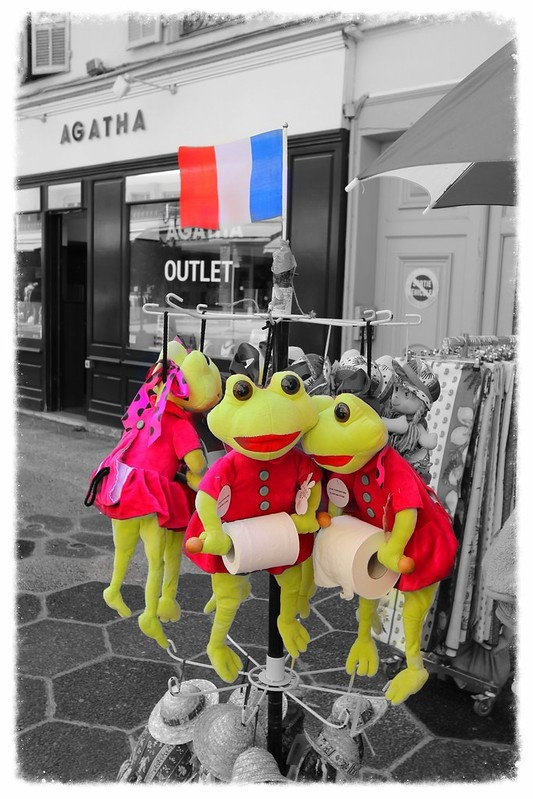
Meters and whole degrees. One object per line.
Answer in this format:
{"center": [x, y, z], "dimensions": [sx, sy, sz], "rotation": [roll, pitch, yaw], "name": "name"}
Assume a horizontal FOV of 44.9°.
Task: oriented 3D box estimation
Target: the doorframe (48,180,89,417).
{"center": [-2.975, -1.414, 9.491], "dimensions": [0.564, 3.205, 1.247], "rotation": [0, 6, -16], "name": "doorframe"}

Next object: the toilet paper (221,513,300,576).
{"center": [-0.017, 0.372, 1.656], "dimensions": [0.170, 0.135, 0.140], "rotation": [-2, 13, -18], "name": "toilet paper"}

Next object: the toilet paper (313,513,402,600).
{"center": [0.234, 0.429, 1.729], "dimensions": [0.215, 0.202, 0.202], "rotation": [-3, 8, -37], "name": "toilet paper"}

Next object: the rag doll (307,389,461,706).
{"center": [0.321, 0.407, 1.809], "dimensions": [0.434, 0.789, 0.399], "rotation": [1, -2, 21], "name": "rag doll"}

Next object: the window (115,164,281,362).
{"center": [-0.647, -1.530, 7.106], "dimensions": [2.034, 2.051, 0.023], "rotation": [-1, -3, 26], "name": "window"}

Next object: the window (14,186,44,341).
{"center": [-3.551, -1.861, 9.728], "dimensions": [0.529, 2.203, 0.055], "rotation": [-2, -1, 15], "name": "window"}

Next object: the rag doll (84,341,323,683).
{"center": [-0.195, 0.357, 1.997], "dimensions": [0.461, 1.039, 0.989], "rotation": [-2, 7, -31], "name": "rag doll"}
